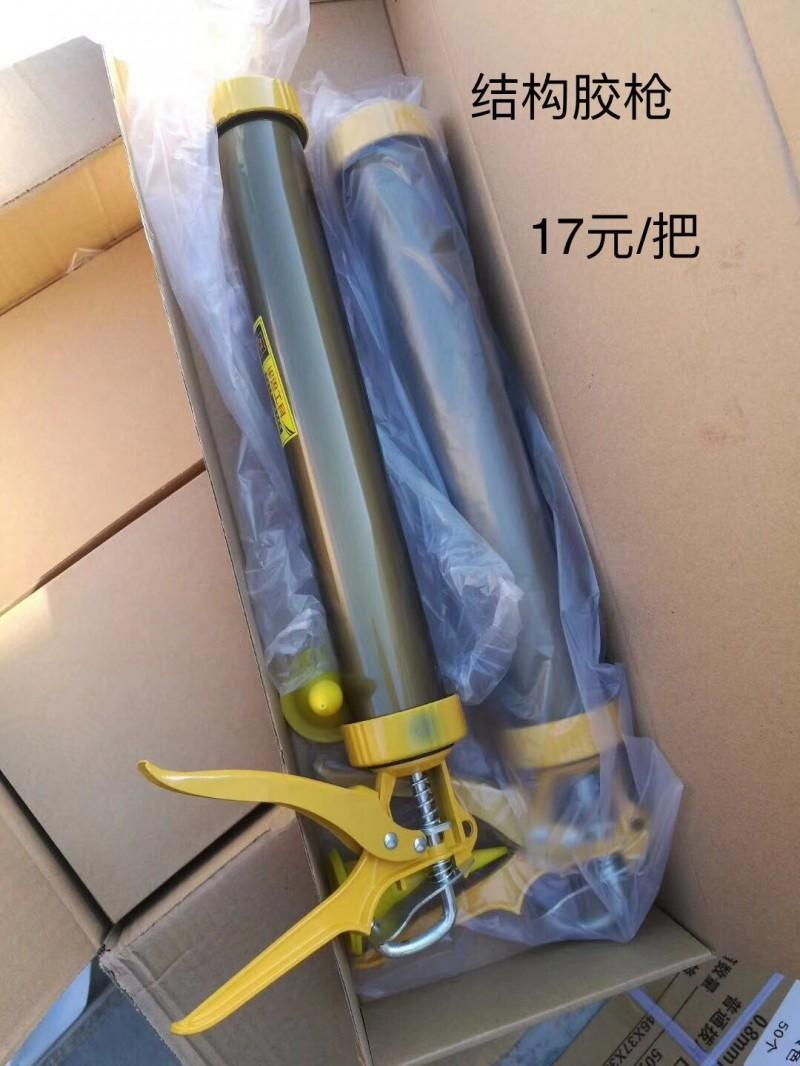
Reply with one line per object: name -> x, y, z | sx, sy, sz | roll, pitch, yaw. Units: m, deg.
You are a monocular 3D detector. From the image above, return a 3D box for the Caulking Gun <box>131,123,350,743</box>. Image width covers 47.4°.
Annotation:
Caulking Gun -> -0.109, -0.065, 0.653 | 0.053, 0.472, 0.057 | -14, -2, -12

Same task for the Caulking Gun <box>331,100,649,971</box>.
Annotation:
Caulking Gun -> 0.050, -0.067, 0.700 | 0.147, 0.705, 0.105 | -9, -6, -8
